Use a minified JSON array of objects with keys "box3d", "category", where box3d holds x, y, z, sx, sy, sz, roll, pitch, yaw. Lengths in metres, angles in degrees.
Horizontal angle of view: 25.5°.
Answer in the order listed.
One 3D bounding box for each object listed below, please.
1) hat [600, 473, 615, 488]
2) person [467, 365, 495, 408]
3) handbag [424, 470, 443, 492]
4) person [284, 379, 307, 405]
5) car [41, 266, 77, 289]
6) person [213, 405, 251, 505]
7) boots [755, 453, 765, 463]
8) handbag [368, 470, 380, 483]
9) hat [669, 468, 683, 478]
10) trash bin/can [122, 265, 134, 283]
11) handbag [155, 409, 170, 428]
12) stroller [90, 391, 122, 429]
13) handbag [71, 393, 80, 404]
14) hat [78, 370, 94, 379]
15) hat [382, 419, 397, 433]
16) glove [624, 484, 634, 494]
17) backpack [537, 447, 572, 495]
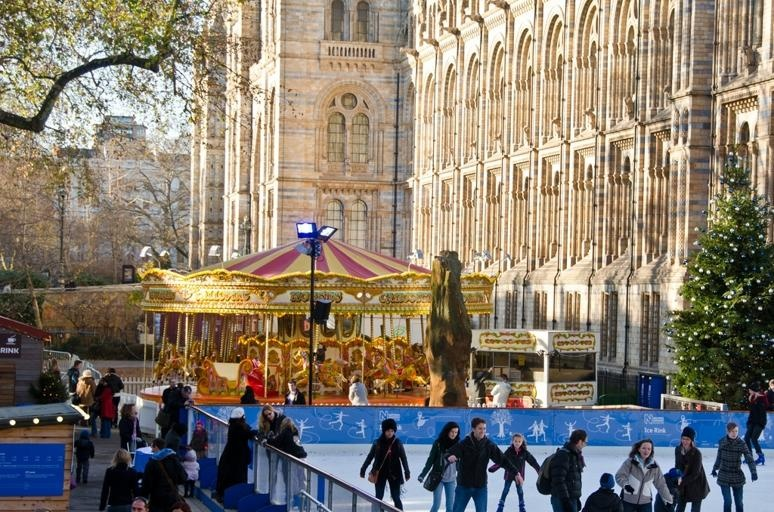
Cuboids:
[{"box3d":[5.375,5.520,42.026,0.328,0.344,0.426,1,17,4],"category":"hat"},{"box3d":[3.225,4.577,59.064,0.420,0.554,1.365,-5,-32,-23],"category":"person"},{"box3d":[1.172,5.802,43.934,0.350,0.468,0.479,3,-7,-19],"category":"handbag"},{"box3d":[-2.885,4.330,54.032,0.891,0.864,0.483,-1,-8,15],"category":"person"},{"box3d":[-19.263,1.351,100.645,1.715,2.256,1.214,-2,2,8],"category":"car"},{"box3d":[-4.071,5.348,45.783,0.879,2.510,0.620,1,-6,-5],"category":"person"},{"box3d":[11.127,6.090,51.158,0.245,0.291,0.638,-1,-7,14],"category":"boots"},{"box3d":[-0.337,5.702,44.145,0.235,0.293,0.243,1,-6,0],"category":"handbag"},{"box3d":[7.412,5.602,44.125,0.269,0.248,0.371,-4,-8,36],"category":"hat"},{"box3d":[-15.775,1.149,104.663,1.032,0.990,1.457,0,-8,-9],"category":"trash bin/can"},{"box3d":[-6.531,4.791,50.171,0.413,0.677,0.543,-1,2,-13],"category":"handbag"},{"box3d":[-9.105,4.972,55.353,0.815,2.189,0.940,7,-53,-12],"category":"stroller"},{"box3d":[-10.179,4.722,56.378,0.303,0.401,0.112,-41,-26,29],"category":"handbag"},{"box3d":[-10.561,4.188,60.240,0.529,0.267,0.698,0,-6,0],"category":"hat"},{"box3d":[0.057,4.308,43.977,0.348,0.365,0.374,3,29,-10],"category":"hat"},{"box3d":[6.022,5.827,42.782,0.224,0.169,0.021,0,-6,5],"category":"glove"},{"box3d":[4.047,5.366,42.690,0.383,1.112,0.896,5,-8,-36],"category":"backpack"}]
